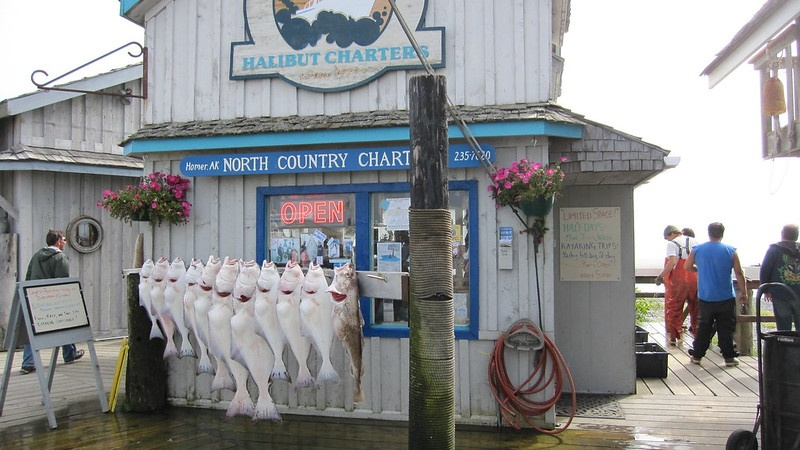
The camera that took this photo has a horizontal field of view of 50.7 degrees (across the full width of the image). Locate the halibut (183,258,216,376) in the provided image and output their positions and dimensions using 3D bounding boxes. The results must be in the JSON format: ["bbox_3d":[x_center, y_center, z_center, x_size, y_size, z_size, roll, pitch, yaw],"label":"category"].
[{"bbox_3d":[-3.190,1.535,13.942,0.471,1.903,0.767,-4,-8,18],"label":"halibut"}]

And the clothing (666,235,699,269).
[{"bbox_3d":[5.660,0.572,16.904,0.658,0.600,0.346,0,4,20],"label":"clothing"}]

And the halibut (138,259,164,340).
[{"bbox_3d":[-4.267,1.223,14.314,0.544,1.357,0.409,0,5,27],"label":"halibut"}]

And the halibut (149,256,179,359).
[{"bbox_3d":[-3.977,1.413,14.242,0.544,1.620,0.665,-4,-4,34],"label":"halibut"}]

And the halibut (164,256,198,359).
[{"bbox_3d":[-3.528,1.373,14.082,0.443,1.743,0.723,-4,-3,30],"label":"halibut"}]

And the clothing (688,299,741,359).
[{"bbox_3d":[6.073,1.911,16.355,0.907,1.453,0.422,0,4,18],"label":"clothing"}]

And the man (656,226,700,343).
[{"bbox_3d":[5.831,1.200,17.541,0.815,2.429,0.733,-5,2,-4],"label":"man"}]

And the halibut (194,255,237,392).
[{"bbox_3d":[-3.116,1.527,13.736,0.880,2.298,0.598,1,0,24],"label":"halibut"}]

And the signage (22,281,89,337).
[{"bbox_3d":[-6.070,1.495,14.717,0.910,0.801,0.071,-6,-10,-35],"label":"signage"}]
